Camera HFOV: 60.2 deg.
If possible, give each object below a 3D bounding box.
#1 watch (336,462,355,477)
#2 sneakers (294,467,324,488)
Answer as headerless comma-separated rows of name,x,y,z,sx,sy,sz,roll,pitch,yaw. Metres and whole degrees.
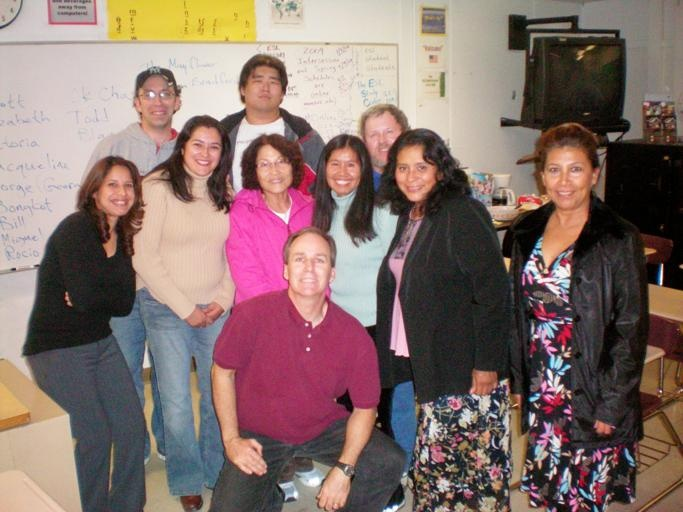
watch,0.020,0.938,2.604,0.079,0.084,0.050,-15,41,41
sneakers,-0.173,1.267,3.393,0.140,0.055,0.079,6,16,42
